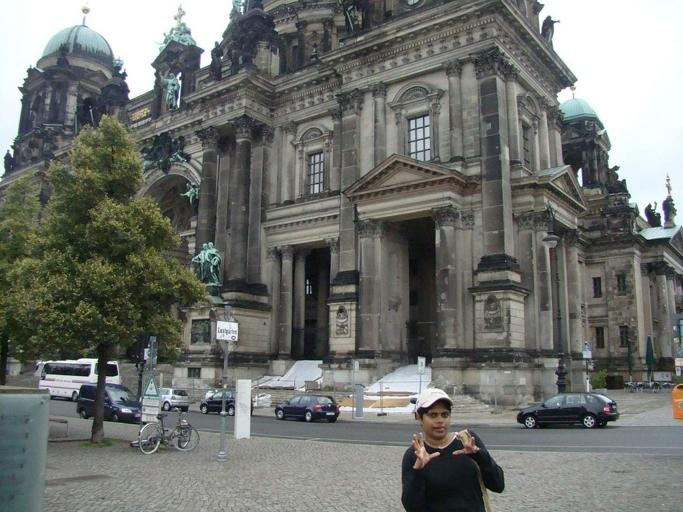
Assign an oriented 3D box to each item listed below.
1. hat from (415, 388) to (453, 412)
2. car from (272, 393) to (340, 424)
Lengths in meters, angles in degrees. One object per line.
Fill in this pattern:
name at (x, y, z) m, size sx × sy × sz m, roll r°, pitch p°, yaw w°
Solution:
hat at (1.310, 2.124, 10.098) m, size 0.583 × 0.419 × 0.943 m, roll 7°, pitch -11°, yaw 0°
car at (-1.722, 8.308, 36.780) m, size 2.882 × 1.164 × 1.595 m, roll -6°, pitch -16°, yaw 38°
